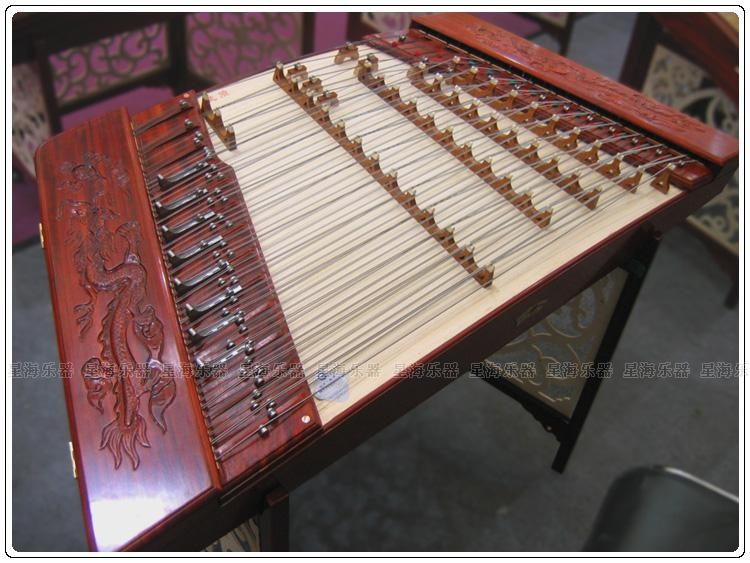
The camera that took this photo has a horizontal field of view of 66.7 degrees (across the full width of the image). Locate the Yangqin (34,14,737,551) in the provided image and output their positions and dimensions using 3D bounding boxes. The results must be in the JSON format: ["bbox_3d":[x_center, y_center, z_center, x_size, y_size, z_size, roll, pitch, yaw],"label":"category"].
[{"bbox_3d":[0.021,0.052,3.074,2.784,1.969,1.890,-26,55,-24],"label":"Yangqin"}]
